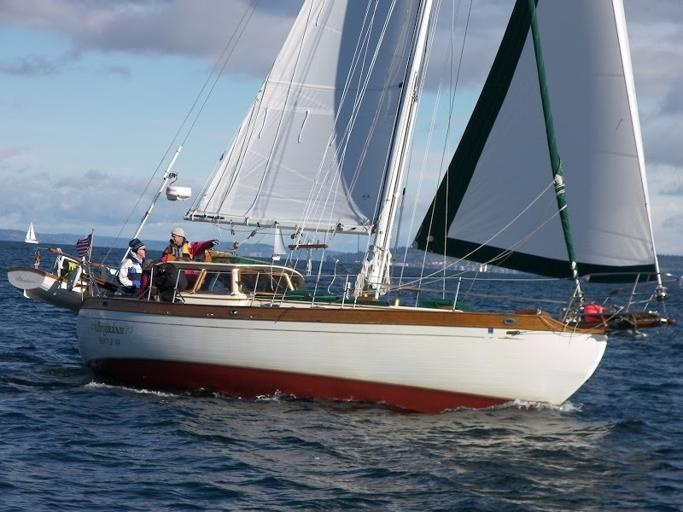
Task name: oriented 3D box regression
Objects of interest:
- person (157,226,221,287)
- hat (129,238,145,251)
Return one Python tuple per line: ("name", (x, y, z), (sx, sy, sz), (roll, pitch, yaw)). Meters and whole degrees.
("person", (-2.735, 0.144, 14.051), (1.598, 1.338, 0.363), (-2, -42, -7))
("hat", (-3.551, -0.180, 13.577), (0.339, 0.225, 0.213), (-4, 17, -6))
